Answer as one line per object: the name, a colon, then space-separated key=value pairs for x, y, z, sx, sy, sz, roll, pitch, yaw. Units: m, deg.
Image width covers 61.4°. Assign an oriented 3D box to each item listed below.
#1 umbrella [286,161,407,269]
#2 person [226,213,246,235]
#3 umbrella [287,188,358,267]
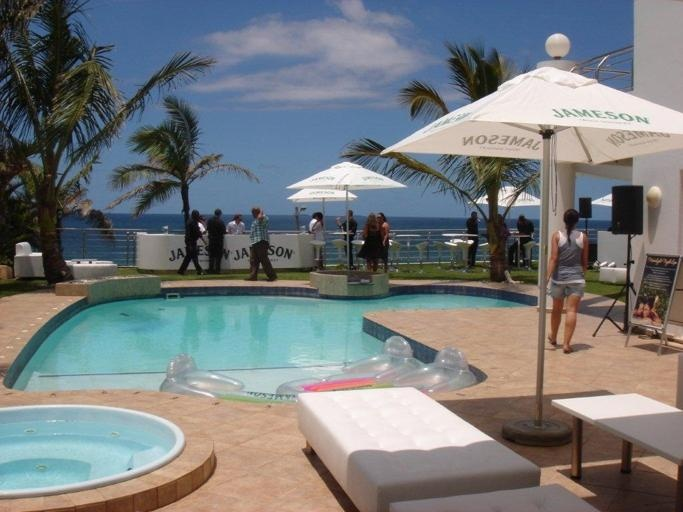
umbrella: x=0.061 y=-0.997 z=16.276 sx=2.837 sy=1.334 sz=3.081 roll=2 pitch=14 yaw=21
person: x=-3.682 y=-1.112 z=20.008 sx=0.553 sy=0.663 sz=0.894 roll=-3 pitch=4 yaw=-15
umbrella: x=-0.557 y=-1.072 z=19.818 sx=2.262 sy=1.622 sz=2.412 roll=-7 pitch=11 yaw=-33
